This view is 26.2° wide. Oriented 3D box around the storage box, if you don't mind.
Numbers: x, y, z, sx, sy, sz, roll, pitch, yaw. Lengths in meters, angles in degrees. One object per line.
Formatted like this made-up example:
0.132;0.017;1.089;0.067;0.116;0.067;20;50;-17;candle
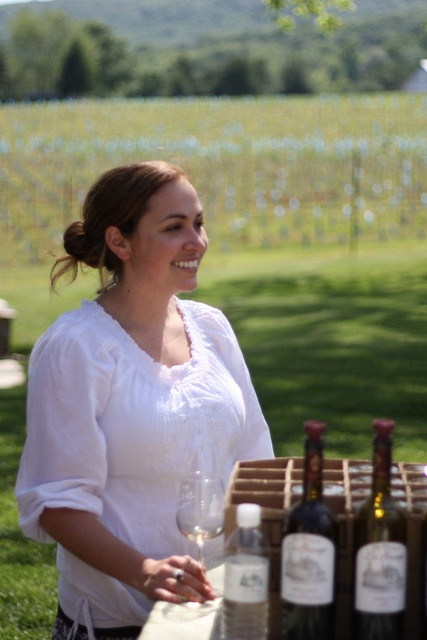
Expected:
0.240;0.428;1.834;0.444;0.216;0.370;0;8;3;storage box

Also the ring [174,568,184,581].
-0.079;0.565;2.031;0.021;0.006;0.023;-5;26;-2;ring
